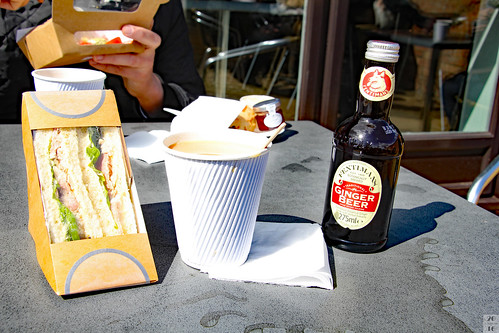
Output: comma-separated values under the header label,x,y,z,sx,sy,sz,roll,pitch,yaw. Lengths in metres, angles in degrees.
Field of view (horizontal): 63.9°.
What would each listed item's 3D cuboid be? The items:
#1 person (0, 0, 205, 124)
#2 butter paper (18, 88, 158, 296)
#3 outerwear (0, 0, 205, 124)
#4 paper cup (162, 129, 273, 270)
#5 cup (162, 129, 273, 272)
label,x,y,z,sx,sy,sz,roll,pitch,yaw
person,-0.642,-0.512,2.029,0.691,0.408,0.936,20,14,21
butter paper,-0.373,0.076,0.940,0.247,0.470,0.197,-13,-8,-24
outerwear,-0.643,-0.462,2.037,0.952,0.370,0.687,-7,21,-37
paper cup,-0.067,0.074,0.956,0.294,0.279,0.276,2,21,-1
cup,-0.069,0.075,0.956,0.295,0.279,0.275,2,21,-1
